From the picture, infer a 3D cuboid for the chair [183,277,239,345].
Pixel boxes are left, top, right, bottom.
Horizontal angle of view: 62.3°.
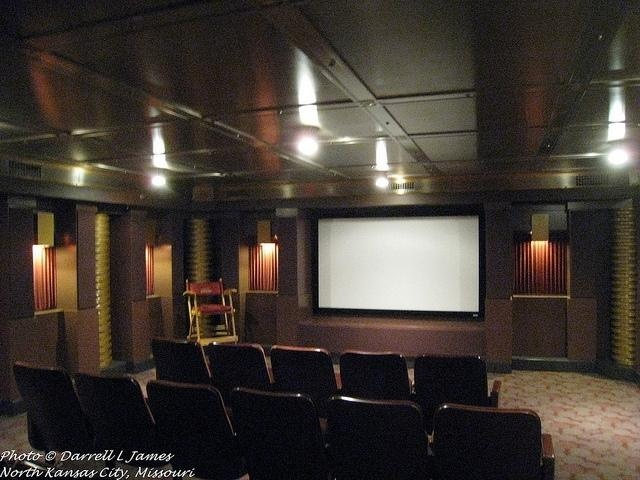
[{"bbox_3d":[-1.860,1.270,9.103,0.864,1.036,0.759,-2,4,-39],"label":"chair"}]
